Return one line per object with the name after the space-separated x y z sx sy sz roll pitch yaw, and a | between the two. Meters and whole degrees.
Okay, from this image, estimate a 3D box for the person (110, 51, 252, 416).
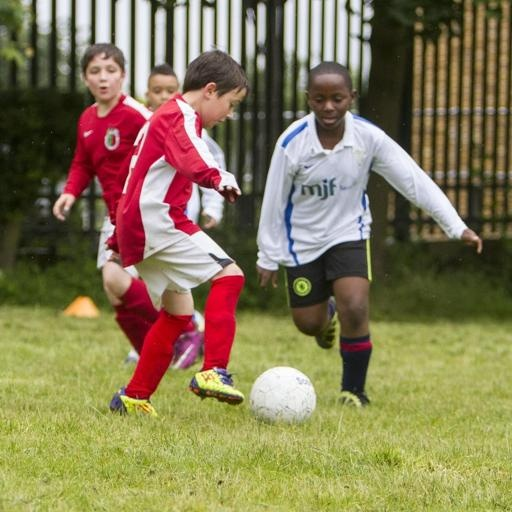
-0.378 -0.093 4.739 0.657 1.847 0.695 1 6 -3 | person

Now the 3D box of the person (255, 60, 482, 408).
0.700 -0.171 5.605 1.146 2.033 1.014 6 21 25 | person

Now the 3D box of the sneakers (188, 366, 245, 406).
-0.197 0.637 4.813 0.258 0.179 0.164 1 7 -9 | sneakers

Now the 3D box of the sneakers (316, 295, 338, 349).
0.435 0.415 6.020 0.097 0.360 0.155 2 43 4 | sneakers

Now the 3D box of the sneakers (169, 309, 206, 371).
-0.421 0.547 6.377 0.135 0.366 0.213 11 -2 -44 | sneakers

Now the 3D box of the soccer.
0.143 0.710 4.966 0.247 0.322 0.254 -2 13 -8 | soccer

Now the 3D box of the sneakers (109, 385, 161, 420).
-0.624 0.735 4.968 0.269 0.157 0.112 2 2 18 | sneakers
